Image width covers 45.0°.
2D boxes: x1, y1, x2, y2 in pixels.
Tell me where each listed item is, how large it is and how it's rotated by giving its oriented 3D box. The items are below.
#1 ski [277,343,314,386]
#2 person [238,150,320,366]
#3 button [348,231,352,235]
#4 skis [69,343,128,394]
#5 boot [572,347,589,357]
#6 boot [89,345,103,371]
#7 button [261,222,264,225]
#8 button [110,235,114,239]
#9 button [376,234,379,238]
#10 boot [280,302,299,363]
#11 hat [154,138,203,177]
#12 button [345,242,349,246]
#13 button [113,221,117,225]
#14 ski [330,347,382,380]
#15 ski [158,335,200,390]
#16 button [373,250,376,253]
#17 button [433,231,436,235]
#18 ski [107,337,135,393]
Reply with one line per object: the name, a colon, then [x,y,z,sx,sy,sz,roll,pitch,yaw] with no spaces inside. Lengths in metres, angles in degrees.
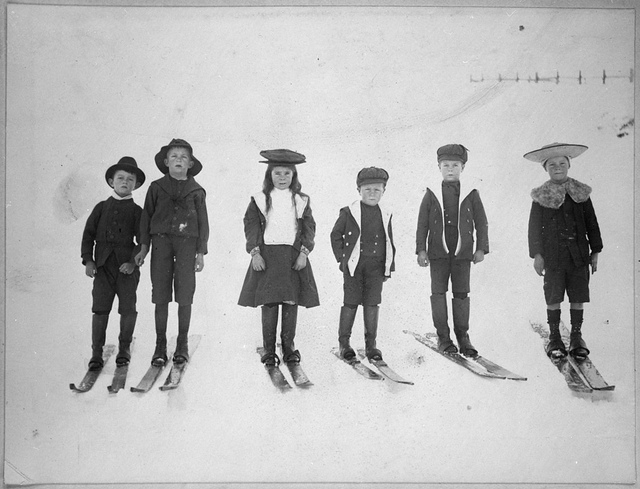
ski: [-0.177,0.940,5.915,0.123,0.528,0.085,-19,-13,-11]
person: [-0.305,0.097,5.911,0.592,1.645,0.186,3,-4,-8]
button: [0.233,-0.088,5.913,0.024,0.030,0.006,3,-1,-3]
skis: [-1.705,0.981,5.795,0.227,0.528,0.071,0,-24,10]
boot: [2.019,0.820,5.970,0.130,0.070,0.028,4,-4,-15]
boot: [-1.715,0.854,5.898,0.068,0.217,0.066,-1,-17,-6]
button: [-0.436,-0.161,5.870,0.019,0.015,0.004,3,-4,-9]
button: [-1.591,-0.062,5.900,0.029,0.024,0.003,2,-4,6]
button: [0.438,-0.066,5.919,0.020,0.025,0.005,0,0,-21]
boot: [-0.241,0.635,5.891,0.117,0.381,0.074,3,-4,-14]
hat: [-1.098,-0.623,5.970,0.264,0.168,0.283,-16,-32,42]
button: [0.210,-0.005,5.911,0.024,0.025,0.004,2,-4,3]
button: [-1.569,-0.166,5.910,0.029,0.025,0.005,2,-4,4]
ski: [0.271,0.913,5.906,0.298,0.036,0.053,41,50,22]
ski: [-1.072,0.938,5.888,0.136,0.712,0.113,14,-13,3]
button: [0.417,0.053,5.906,0.024,0.019,0.006,-2,1,-3]
button: [0.884,-0.090,5.948,0.015,0.024,0.005,6,-3,-5]
ski: [-1.563,0.849,6.053,0.117,0.116,0.804,-9,30,-6]
